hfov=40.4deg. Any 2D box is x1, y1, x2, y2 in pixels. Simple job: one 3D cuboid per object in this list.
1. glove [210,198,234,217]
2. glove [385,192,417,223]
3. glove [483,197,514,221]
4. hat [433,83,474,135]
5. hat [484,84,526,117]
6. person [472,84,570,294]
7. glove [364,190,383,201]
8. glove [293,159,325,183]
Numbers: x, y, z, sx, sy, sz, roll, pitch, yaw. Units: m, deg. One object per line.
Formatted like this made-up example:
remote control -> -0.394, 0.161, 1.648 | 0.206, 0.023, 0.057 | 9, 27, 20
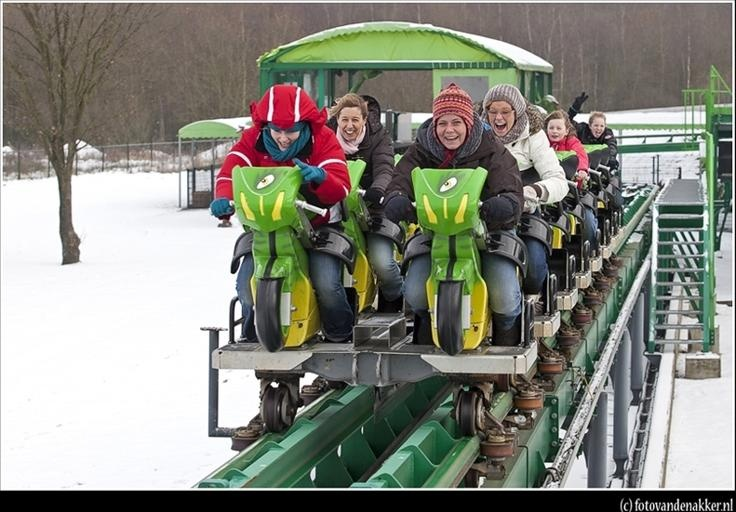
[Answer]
glove -> -1.574, -0.506, 10.814 | 0.242, 0.277, 0.375 | 3, 15, -8
glove -> 0.340, -0.510, 10.630 | 0.346, 0.287, 0.227 | 6, 14, 3
glove -> 1.371, -0.503, 10.519 | 0.284, 0.225, 0.230 | 3, 9, -2
hat -> 0.922, -1.627, 10.861 | 0.366, 0.489, 0.489 | 0, -5, -1
hat -> 1.614, -1.836, 11.669 | 0.338, 0.258, 0.425 | 3, -32, 15
person -> 1.908, -0.982, 11.807 | 1.107, 1.459, 2.437 | 1, 13, 11
glove -> 0.055, -0.723, 11.814 | 0.171, 0.067, 0.137 | 7, 6, 24
glove -> -0.632, -0.901, 10.641 | 0.375, 0.272, 0.201 | -2, 15, -26
